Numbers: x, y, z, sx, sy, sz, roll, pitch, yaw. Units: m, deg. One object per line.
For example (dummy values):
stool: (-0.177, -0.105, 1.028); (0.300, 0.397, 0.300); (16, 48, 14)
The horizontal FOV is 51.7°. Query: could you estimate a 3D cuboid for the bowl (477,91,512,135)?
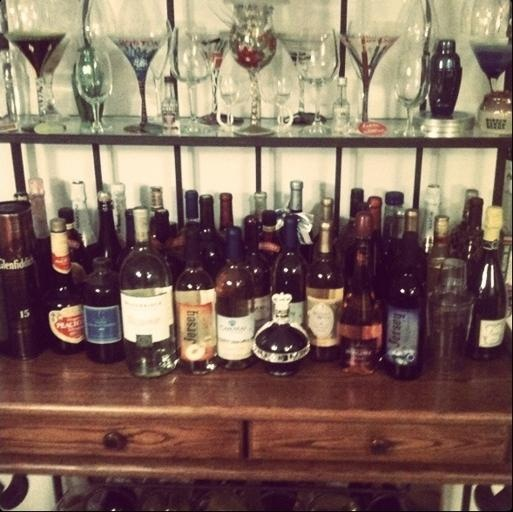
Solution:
bowl: (0.453, -0.281, 1.055); (0.075, 0.075, 0.080); (-3, 22, 1)
